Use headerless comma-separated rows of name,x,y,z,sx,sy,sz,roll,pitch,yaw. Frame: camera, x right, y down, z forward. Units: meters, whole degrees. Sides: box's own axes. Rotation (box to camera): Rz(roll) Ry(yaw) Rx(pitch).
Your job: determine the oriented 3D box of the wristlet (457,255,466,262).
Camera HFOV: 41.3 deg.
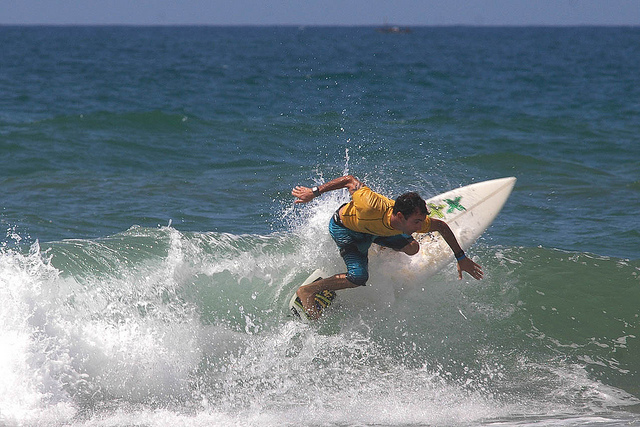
wristlet,2.614,0.827,15.715,0.024,0.102,0.102,58,26,5
